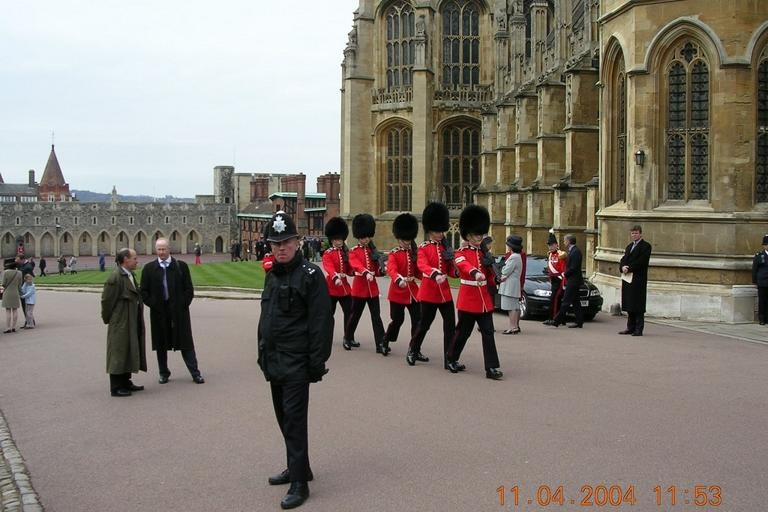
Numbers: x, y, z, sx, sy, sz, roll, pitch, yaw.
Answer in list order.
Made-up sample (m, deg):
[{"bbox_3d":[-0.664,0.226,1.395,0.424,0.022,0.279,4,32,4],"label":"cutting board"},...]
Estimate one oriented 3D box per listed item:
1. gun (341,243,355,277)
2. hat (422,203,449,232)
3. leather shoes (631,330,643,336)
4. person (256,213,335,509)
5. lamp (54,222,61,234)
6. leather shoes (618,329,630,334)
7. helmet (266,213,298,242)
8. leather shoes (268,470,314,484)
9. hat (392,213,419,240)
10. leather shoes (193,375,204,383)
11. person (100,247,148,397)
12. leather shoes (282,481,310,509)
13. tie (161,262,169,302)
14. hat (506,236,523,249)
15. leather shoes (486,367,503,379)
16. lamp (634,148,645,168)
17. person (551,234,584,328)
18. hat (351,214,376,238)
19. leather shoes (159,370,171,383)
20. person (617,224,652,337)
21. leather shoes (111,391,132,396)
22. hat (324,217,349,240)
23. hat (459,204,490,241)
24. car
[{"bbox_3d":[-0.682,0.089,17.166,0.334,0.476,0.248,-1,-6,-13],"label":"gun"},{"bbox_3d":[0.890,-0.626,15.533,0.386,0.424,0.524,0,-6,-10],"label":"hat"},{"bbox_3d":[4.990,1.502,17.811,0.204,0.084,0.260,1,10,13],"label":"leather shoes"},{"bbox_3d":[-1.080,1.156,11.090,0.898,3.291,1.271,-2,10,-7],"label":"person"},{"bbox_3d":[-31.062,-2.590,86.776,0.630,1.164,0.877,-5,11,-21],"label":"lamp"},{"bbox_3d":[4.788,1.493,18.039,0.190,0.131,0.075,3,-4,7],"label":"leather shoes"},{"bbox_3d":[-1.255,-0.362,11.281,0.318,0.274,0.419,-3,4,3],"label":"helmet"},{"bbox_3d":[-1.145,2.711,11.077,0.613,0.248,0.207,3,-5,-8],"label":"leather shoes"},{"bbox_3d":[0.394,-0.521,16.002,0.369,0.381,0.489,1,-2,-8],"label":"hat"},{"bbox_3d":[-2.956,1.947,14.535,0.178,0.113,0.242,-3,10,-12],"label":"leather shoes"},{"bbox_3d":[-4.042,1.012,14.126,0.619,2.174,0.950,-4,11,-17],"label":"person"},{"bbox_3d":[-1.041,2.808,10.756,0.211,0.244,0.394,5,12,28],"label":"leather shoes"},{"bbox_3d":[-3.519,0.379,14.641,0.125,0.614,0.154,-3,10,-9],"label":"tie"},{"bbox_3d":[2.697,-0.285,18.849,0.322,0.171,0.267,16,18,43],"label":"hat"},{"bbox_3d":[1.787,1.840,14.446,0.280,0.170,0.270,-3,10,-11],"label":"leather shoes"},{"bbox_3d":[5.849,-2.223,20.705,0.205,0.406,0.148,1,10,10],"label":"lamp"},{"bbox_3d":[3.939,0.519,19.210,0.590,1.956,1.019,1,10,13],"label":"person"},{"bbox_3d":[-0.375,-0.555,17.040,0.355,0.420,0.481,-1,-4,-8],"label":"hat"},{"bbox_3d":[-3.533,1.932,14.647,0.150,0.176,0.415,0,-8,-3],"label":"leather shoes"},{"bbox_3d":[5.025,0.494,18.150,0.540,2.125,1.144,2,11,16],"label":"person"},{"bbox_3d":[-4.014,2.085,13.886,0.274,0.109,0.103,-1,4,1],"label":"leather shoes"},{"bbox_3d":[-0.889,-0.522,17.209,0.356,0.422,0.450,1,-6,-10],"label":"hat"},{"bbox_3d":[1.502,-0.550,14.947,0.419,0.599,0.183,-2,1,2],"label":"hat"},{"bbox_3d":[3.569,0.724,20.641,1.291,1.067,3.270,0,-2,-22],"label":"car"}]
